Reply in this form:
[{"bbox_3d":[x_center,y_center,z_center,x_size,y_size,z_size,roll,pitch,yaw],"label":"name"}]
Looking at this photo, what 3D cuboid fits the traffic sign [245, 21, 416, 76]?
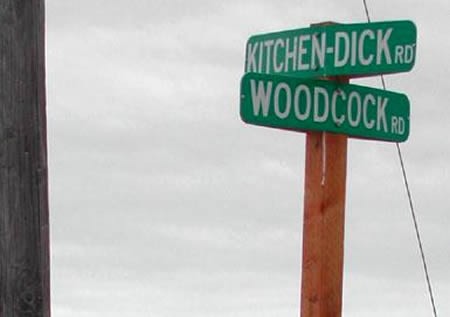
[{"bbox_3d":[0.491,-0.522,5.045,0.828,0.266,0.177,-2,-30,12],"label":"traffic sign"}]
